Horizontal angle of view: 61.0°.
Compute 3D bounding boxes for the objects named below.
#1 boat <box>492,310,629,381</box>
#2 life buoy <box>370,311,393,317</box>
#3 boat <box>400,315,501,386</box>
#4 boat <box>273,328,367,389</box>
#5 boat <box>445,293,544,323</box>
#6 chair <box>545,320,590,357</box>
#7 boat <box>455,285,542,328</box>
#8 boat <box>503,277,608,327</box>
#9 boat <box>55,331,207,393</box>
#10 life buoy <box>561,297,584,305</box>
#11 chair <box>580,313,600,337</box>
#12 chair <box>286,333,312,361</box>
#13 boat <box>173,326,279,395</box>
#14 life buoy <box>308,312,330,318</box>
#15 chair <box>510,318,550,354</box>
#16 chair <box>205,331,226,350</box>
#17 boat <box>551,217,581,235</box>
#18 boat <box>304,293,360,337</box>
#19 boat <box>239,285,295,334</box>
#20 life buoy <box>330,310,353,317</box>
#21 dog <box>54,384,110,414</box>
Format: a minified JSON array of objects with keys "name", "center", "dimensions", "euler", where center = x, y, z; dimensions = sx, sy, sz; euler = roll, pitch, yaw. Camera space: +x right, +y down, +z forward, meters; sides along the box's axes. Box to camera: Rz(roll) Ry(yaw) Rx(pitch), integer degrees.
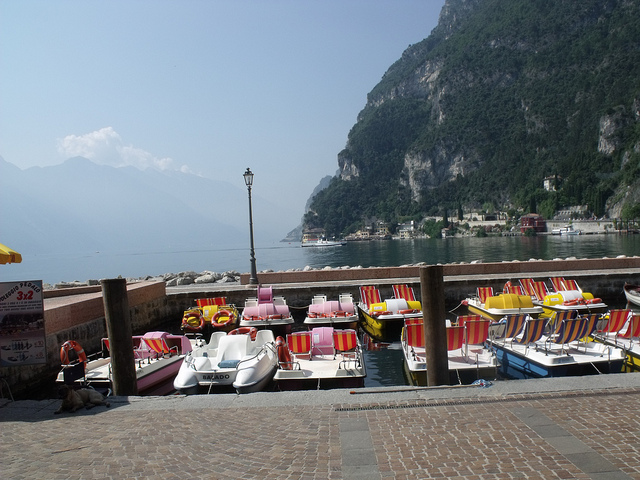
[{"name":"boat","center":[6.333,2.968,15.626],"dimensions":[1.854,1.364,3.596],"euler":[0,-6,-7]},{"name":"life buoy","center":[2.344,2.786,20.677],"dimensions":[0.836,0.124,0.375],"euler":[-3,1,9]},{"name":"boat","center":[3.783,3.105,15.536],"dimensions":[1.491,1.219,2.843],"euler":[-1,-4,-3]},{"name":"boat","center":[-0.042,3.331,15.090],"dimensions":[2.552,1.284,2.004],"euler":[-3,1,-6]},{"name":"boat","center":[7.312,2.822,22.690],"dimensions":[2.373,1.551,4.405],"euler":[0,-3,-3]},{"name":"chair","center":[6.736,2.599,14.938],"dimensions":[0.997,1.000,1.140],"euler":[1,1,0]},{"name":"boat","center":[7.081,2.545,21.402],"dimensions":[1.717,1.342,3.373],"euler":[-1,3,-9]},{"name":"boat","center":[10.028,2.532,22.921],"dimensions":[2.266,1.850,4.893],"euler":[0,-1,2]},{"name":"boat","center":[-4.909,3.431,15.749],"dimensions":[1.900,1.237,3.466],"euler":[0,5,17]},{"name":"life buoy","center":[9.806,2.379,21.004],"dimensions":[0.613,0.122,0.342],"euler":[-20,3,5]},{"name":"chair","center":[7.291,2.345,14.689],"dimensions":[0.348,0.712,0.846],"euler":[-2,1,30]},{"name":"chair","center":[-0.537,2.979,15.802],"dimensions":[0.631,1.021,0.699],"euler":[1,15,2]},{"name":"boat","center":[-2.502,3.388,15.049],"dimensions":[2.491,1.541,2.329],"euler":[-3,1,1]},{"name":"life buoy","center":[-0.042,2.944,21.403],"dimensions":[0.881,0.151,0.309],"euler":[-3,1,12]},{"name":"chair","center":[5.941,2.656,15.708],"dimensions":[0.815,1.110,1.082],"euler":[-2,2,-14]},{"name":"chair","center":[-3.082,2.961,15.976],"dimensions":[0.391,0.794,0.515],"euler":[0,-8,17]},{"name":"boat","center":[67.514,-2.687,148.359],"dimensions":[2.423,4.753,7.331],"euler":[-3,3,-28]},{"name":"boat","center":[0.532,3.249,22.951],"dimensions":[1.989,1.847,4.519],"euler":[-3,-2,2]},{"name":"boat","center":[-2.321,2.686,23.084],"dimensions":[1.961,1.565,4.574],"euler":[-3,7,-10]},{"name":"life buoy","center":[0.836,2.885,21.287],"dimensions":[0.883,0.187,0.279],"euler":[-3,1,3]},{"name":"dog","center":[-4.919,3.256,11.248],"dimensions":[0.399,0.694,1.127],"euler":[-16,-12,30]}]
